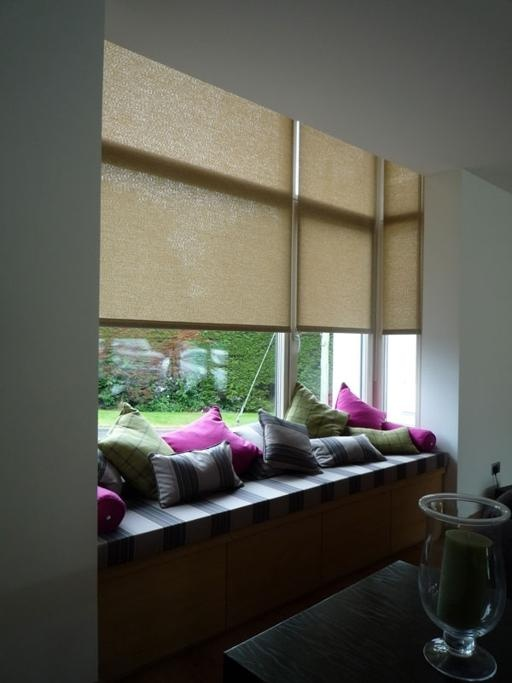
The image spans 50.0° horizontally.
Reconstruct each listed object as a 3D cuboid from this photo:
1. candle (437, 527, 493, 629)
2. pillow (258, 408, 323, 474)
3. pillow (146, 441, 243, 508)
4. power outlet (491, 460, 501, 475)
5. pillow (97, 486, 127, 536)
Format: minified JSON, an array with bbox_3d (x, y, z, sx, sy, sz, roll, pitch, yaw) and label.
[{"bbox_3d":[0.483,0.559,1.272,0.109,0.191,0.045,1,1,19],"label":"candle"},{"bbox_3d":[0.194,0.588,3.228,0.348,0.334,0.300,0,1,-10],"label":"pillow"},{"bbox_3d":[-0.280,0.641,2.679,0.474,0.252,0.146,-3,-17,-41],"label":"pillow"},{"bbox_3d":[1.835,0.961,4.209,0.143,0.098,0.019,-3,5,-43],"label":"power outlet"},{"bbox_3d":[-0.568,0.663,2.151,0.100,0.154,0.222,0,1,-16],"label":"pillow"}]
